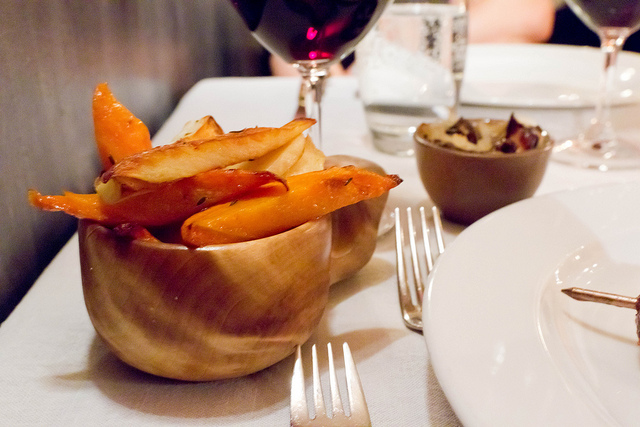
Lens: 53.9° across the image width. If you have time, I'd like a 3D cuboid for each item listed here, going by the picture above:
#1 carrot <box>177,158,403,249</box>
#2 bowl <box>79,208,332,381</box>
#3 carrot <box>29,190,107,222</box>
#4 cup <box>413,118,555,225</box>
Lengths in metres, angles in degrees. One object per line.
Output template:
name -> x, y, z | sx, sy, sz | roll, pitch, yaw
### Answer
carrot -> -0.028, -0.008, 0.502 | 0.149, 0.037, 0.080 | -17, 12, -15
bowl -> -0.100, 0.068, 0.585 | 0.222, 0.119, 0.196 | -13, 17, -39
carrot -> -0.199, -0.006, 0.503 | 0.059, 0.015, 0.024 | 4, 47, -14
cup -> 0.189, -0.054, 0.741 | 0.148, 0.095, 0.147 | -2, 29, 1
